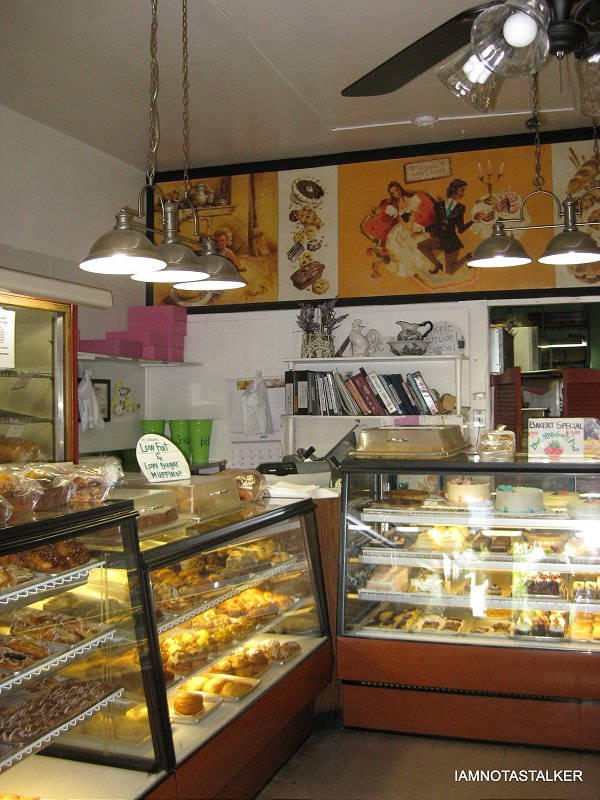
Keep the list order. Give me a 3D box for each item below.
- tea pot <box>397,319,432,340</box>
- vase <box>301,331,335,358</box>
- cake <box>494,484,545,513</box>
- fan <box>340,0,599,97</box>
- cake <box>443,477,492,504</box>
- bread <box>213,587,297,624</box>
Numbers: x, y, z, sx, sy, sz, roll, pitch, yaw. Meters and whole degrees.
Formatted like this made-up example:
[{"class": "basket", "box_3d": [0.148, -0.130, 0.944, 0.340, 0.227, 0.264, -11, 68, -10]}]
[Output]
[{"class": "tea pot", "box_3d": [0.848, -0.519, 4.791, 0.228, 0.161, 0.366, -2, 4, 28]}, {"class": "vase", "box_3d": [0.127, -0.420, 4.887, 0.222, 0.144, 0.210, 0, 0, 11]}, {"class": "cake", "box_3d": [0.837, 0.387, 2.495, 0.132, 0.056, 0.123, 1, 0, 2]}, {"class": "fan", "box_3d": [0.517, -1.038, 1.827, 0.512, 0.114, 0.479, 4, -12, 8]}, {"class": "cake", "box_3d": [0.649, 0.362, 2.498, 0.127, 0.069, 0.125, 2, 3, 29]}, {"class": "bread", "box_3d": [-0.165, 0.710, 2.230, 0.139, 0.029, 0.186, 2, 0, 30]}]
